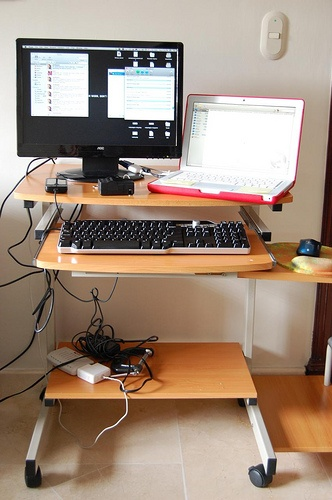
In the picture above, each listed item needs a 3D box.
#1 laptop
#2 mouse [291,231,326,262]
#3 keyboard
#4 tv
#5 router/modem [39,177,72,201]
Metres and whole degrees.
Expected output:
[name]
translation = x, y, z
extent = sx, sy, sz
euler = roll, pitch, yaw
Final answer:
[laptop]
translation = 0.162, -0.291, 1.081
extent = 0.394, 0.245, 0.342
euler = 17, 26, 36
[mouse]
translation = 0.393, -0.003, 1.100
extent = 0.065, 0.046, 0.135
euler = 6, 10, 21
[keyboard]
translation = -0.031, -0.040, 1.024
extent = 0.461, 0.077, 0.244
euler = 1, 10, -7
[tv]
translation = -0.180, -0.422, 1.114
extent = 0.459, 0.327, 0.036
euler = 1, 9, -7
[router/modem]
translation = -0.275, -0.150, 0.986
extent = 0.049, 0.022, 0.093
euler = 2, 23, -4
